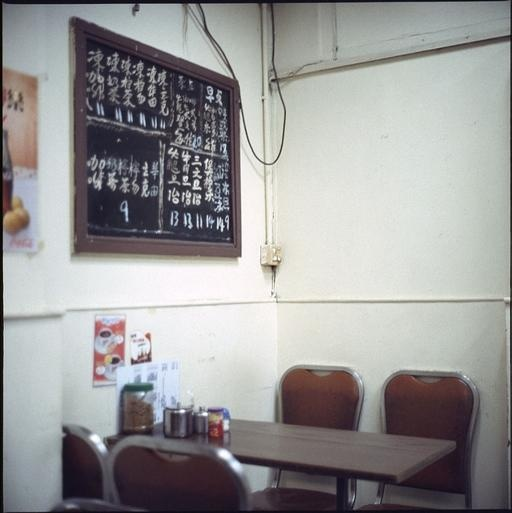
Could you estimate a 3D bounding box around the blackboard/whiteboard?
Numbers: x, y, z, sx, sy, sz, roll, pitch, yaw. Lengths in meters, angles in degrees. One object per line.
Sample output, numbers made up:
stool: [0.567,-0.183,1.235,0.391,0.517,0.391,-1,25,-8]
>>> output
blackboard/whiteboard: [-0.396,-0.443,1.856,0.041,0.929,0.854,-5,-8,28]

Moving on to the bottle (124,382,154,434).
bottle: [-0.411,0.514,1.713,0.097,0.190,0.109,2,8,-17]

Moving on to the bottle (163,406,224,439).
bottle: [-0.211,0.536,1.673,0.198,0.096,0.099,6,-7,-36]
